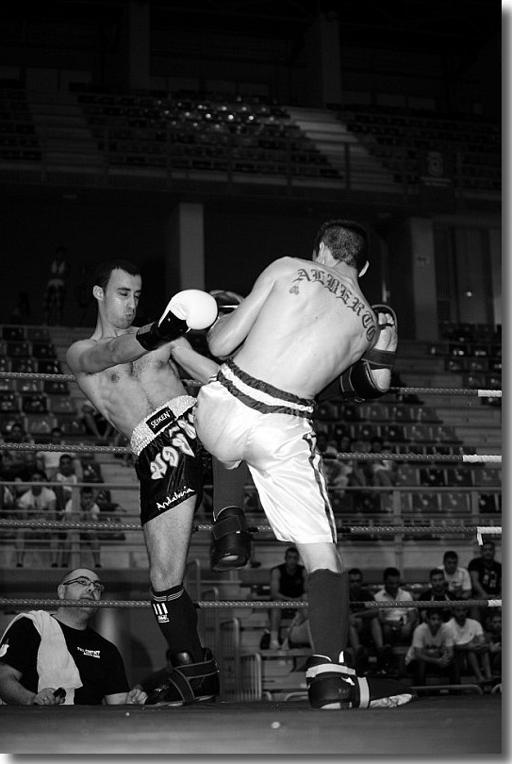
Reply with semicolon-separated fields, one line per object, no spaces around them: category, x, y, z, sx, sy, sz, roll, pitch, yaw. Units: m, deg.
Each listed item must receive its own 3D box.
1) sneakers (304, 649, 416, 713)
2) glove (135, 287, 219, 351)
sneakers;0.283;0.722;2.390;0.327;0.139;0.103;10;-26;-32
glove;-0.199;-0.166;2.668;0.221;0.117;0.090;-34;-15;21
